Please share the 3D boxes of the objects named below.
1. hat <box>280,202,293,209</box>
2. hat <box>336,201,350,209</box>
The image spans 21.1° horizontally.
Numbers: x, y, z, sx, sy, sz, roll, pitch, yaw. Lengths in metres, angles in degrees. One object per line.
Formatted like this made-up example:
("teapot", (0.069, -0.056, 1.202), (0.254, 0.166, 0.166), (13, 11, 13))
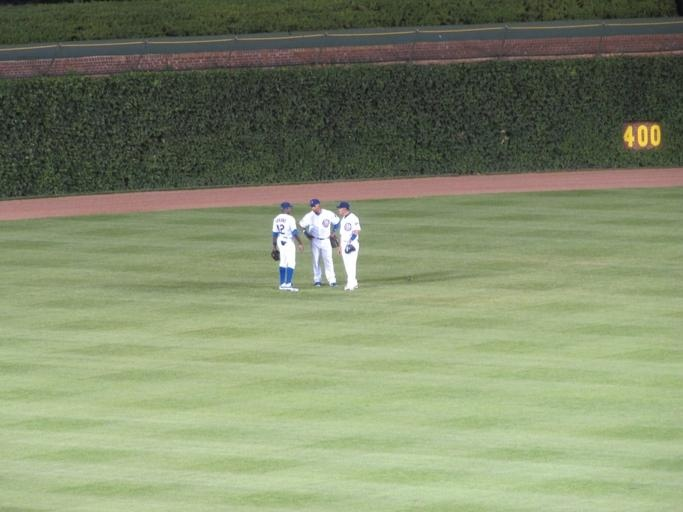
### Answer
("hat", (-1.313, -1.166, 43.950), (0.251, 0.130, 0.173), (-21, 25, -17))
("hat", (-0.027, -1.196, 43.900), (0.356, 0.162, 0.237), (6, 2, 2))
